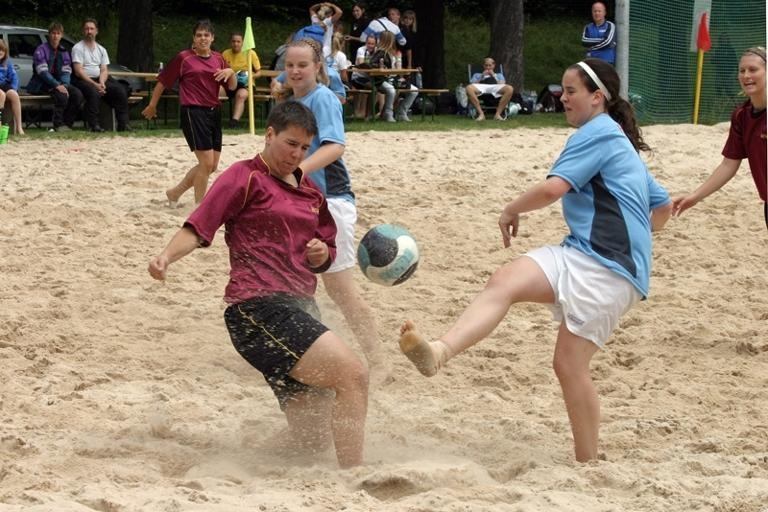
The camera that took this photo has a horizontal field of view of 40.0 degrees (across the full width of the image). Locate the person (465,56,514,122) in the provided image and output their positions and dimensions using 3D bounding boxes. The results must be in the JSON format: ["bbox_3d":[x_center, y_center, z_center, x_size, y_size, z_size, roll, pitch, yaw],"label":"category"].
[{"bbox_3d":[2.004,-3.116,19.961,1.140,1.590,1.304,-1,-3,5],"label":"person"}]

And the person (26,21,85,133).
[{"bbox_3d":[-5.130,-2.818,16.591,0.774,1.679,0.659,-3,9,-27],"label":"person"}]

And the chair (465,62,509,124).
[{"bbox_3d":[2.010,-3.103,19.898,1.057,1.472,1.207,0,-3,5],"label":"chair"}]
